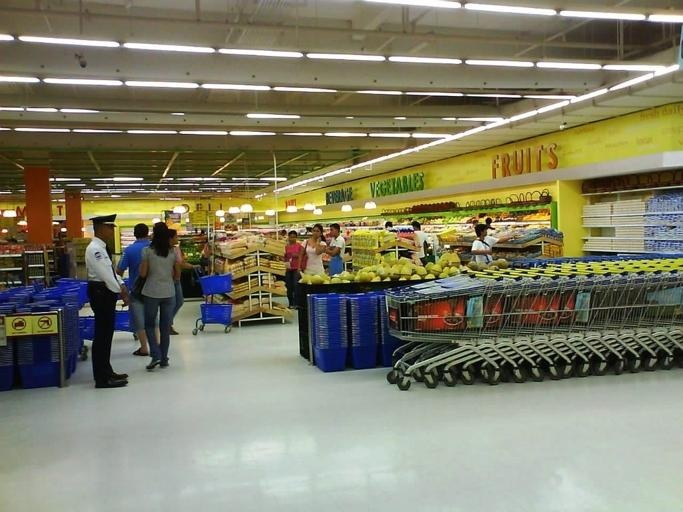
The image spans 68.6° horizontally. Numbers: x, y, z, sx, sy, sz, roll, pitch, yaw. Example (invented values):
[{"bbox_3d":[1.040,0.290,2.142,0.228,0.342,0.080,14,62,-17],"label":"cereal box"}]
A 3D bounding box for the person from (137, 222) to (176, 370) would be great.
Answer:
[{"bbox_3d":[-2.552,0.571,7.085,0.514,2.075,0.394,-4,3,-21],"label":"person"}]

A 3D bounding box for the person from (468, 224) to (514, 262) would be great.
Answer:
[{"bbox_3d":[3.341,-0.240,11.159,0.469,1.312,0.825,-3,14,31],"label":"person"}]

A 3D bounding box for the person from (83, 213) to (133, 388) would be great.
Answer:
[{"bbox_3d":[-2.994,0.568,6.415,0.447,2.176,0.621,-4,3,-27],"label":"person"}]

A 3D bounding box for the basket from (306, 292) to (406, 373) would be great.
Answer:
[{"bbox_3d":[0.122,0.984,7.085,1.750,1.118,0.953,0,2,-19],"label":"basket"}]

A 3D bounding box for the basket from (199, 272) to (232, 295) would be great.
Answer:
[{"bbox_3d":[-2.368,0.536,9.438,0.555,0.317,0.368,-8,2,-14],"label":"basket"}]

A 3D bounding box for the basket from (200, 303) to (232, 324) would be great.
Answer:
[{"bbox_3d":[-2.374,1.118,9.511,0.535,0.289,0.349,0,-3,-7],"label":"basket"}]

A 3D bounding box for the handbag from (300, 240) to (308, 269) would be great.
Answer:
[{"bbox_3d":[-0.805,0.064,10.604,0.145,0.436,0.289,10,11,12],"label":"handbag"}]
